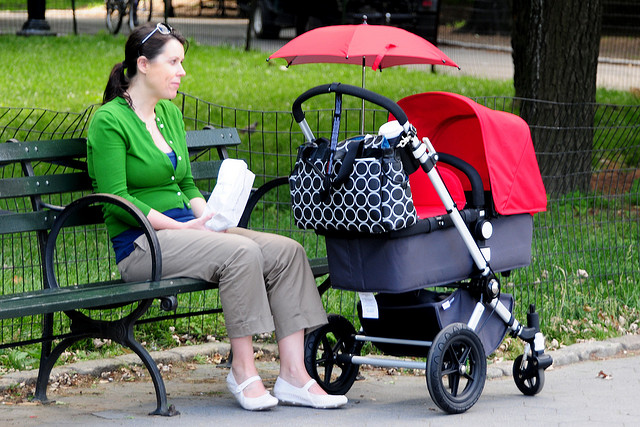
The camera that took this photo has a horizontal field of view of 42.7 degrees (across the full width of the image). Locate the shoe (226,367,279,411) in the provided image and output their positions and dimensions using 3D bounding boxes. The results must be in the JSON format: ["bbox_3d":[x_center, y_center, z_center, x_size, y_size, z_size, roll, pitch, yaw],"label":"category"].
[{"bbox_3d":[-0.461,1.207,5.564,0.246,0.225,0.474,5,-2,-35],"label":"shoe"}]

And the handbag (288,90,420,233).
[{"bbox_3d":[0.171,-0.323,5.423,0.796,0.849,0.435,2,4,31],"label":"handbag"}]

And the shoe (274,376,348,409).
[{"bbox_3d":[-0.060,1.191,5.589,0.487,0.234,0.196,3,-1,2],"label":"shoe"}]

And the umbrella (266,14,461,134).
[{"bbox_3d":[0.317,-1.132,5.894,0.969,0.784,1.025,1,7,2],"label":"umbrella"}]
